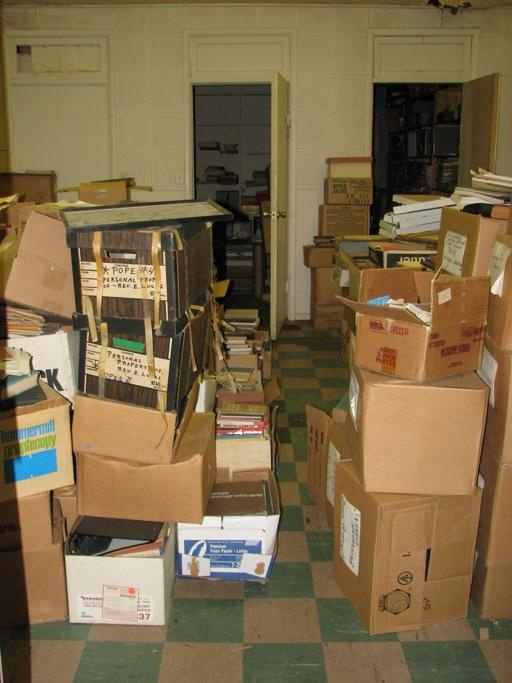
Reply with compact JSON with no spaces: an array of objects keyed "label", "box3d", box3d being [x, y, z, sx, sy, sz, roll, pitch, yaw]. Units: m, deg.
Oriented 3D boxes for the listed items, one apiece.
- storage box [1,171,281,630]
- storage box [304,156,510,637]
[{"label":"storage box","box3d":[-0.357,0.176,1.907,0.872,1.300,0.746,0,11,2]},{"label":"storage box","box3d":[0.489,0.249,1.857,0.456,1.173,0.716,1,11,3]}]
